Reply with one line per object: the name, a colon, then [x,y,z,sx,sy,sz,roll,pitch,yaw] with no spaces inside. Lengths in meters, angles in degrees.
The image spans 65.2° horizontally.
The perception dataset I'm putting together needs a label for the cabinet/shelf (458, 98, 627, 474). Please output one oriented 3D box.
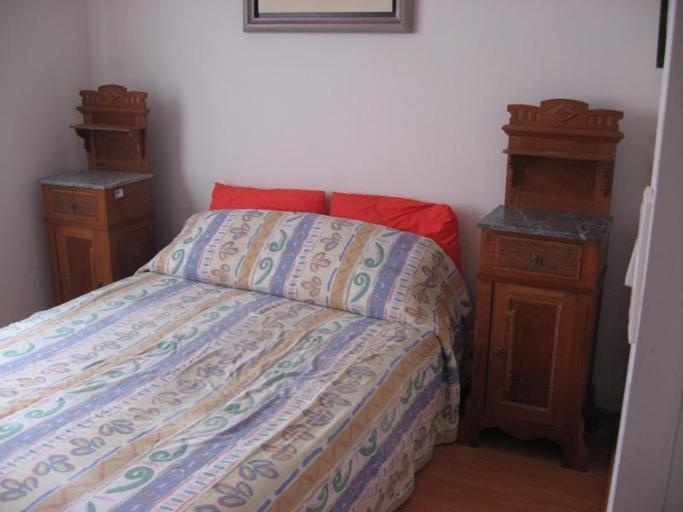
cabinet/shelf: [0.884,0.092,2.322,0.514,1.519,0.478,7,15,26]
